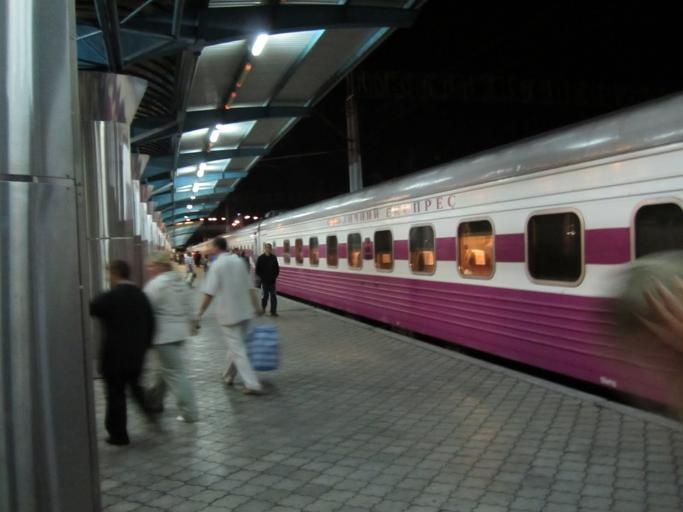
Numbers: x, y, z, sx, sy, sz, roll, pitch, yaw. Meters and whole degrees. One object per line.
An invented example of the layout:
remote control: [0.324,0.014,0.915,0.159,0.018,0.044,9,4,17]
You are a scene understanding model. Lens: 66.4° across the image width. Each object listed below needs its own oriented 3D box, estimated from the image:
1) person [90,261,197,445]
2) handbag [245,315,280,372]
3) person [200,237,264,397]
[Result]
person: [-2.237,0.994,5.286,0.585,1.301,0.461,-4,3,-20]
handbag: [-1.195,1.166,7.006,0.367,0.519,0.393,23,-10,-15]
person: [-1.487,0.799,6.786,0.726,2.047,0.351,-3,3,-9]
